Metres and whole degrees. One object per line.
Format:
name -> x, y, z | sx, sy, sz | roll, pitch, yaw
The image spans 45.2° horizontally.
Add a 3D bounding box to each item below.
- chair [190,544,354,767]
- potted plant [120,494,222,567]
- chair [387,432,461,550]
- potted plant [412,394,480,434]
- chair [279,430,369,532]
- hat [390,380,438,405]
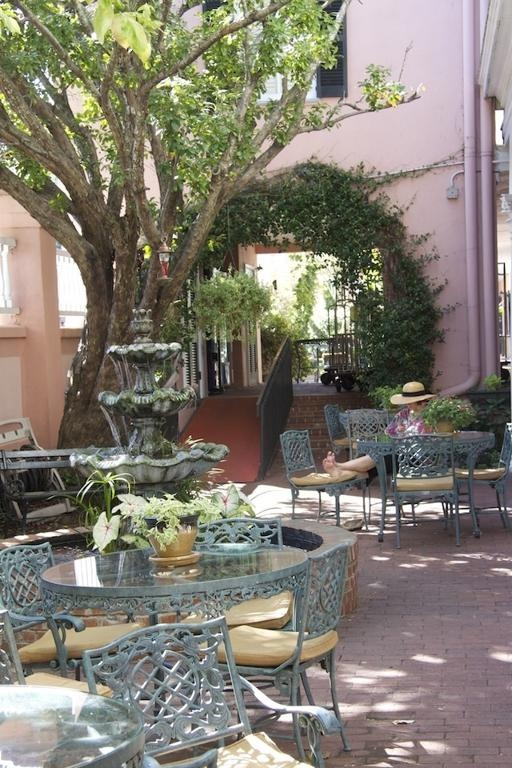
chair -> 0.106, 1.141, 2.657 | 0.544, 0.814, 0.509 | -5, -6, 30
potted plant -> -0.370, 0.695, 2.887 | 0.423, 0.292, 0.445 | 5, -18, -32
chair -> 1.888, 1.304, 6.824 | 0.780, 1.318, 0.864 | -11, -42, 23
potted plant -> 2.179, 0.330, 7.031 | 0.490, 0.355, 0.503 | -1, 6, 27
chair -> 0.773, 1.114, 7.386 | 0.836, 1.087, 0.736 | -4, 1, 34
hat -> 1.993, 0.124, 7.811 | 0.410, 0.180, 0.421 | -9, 4, 19
